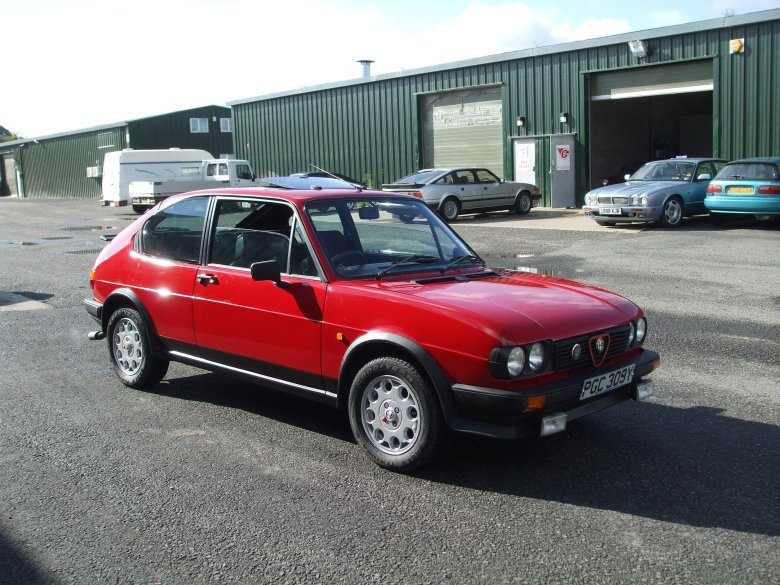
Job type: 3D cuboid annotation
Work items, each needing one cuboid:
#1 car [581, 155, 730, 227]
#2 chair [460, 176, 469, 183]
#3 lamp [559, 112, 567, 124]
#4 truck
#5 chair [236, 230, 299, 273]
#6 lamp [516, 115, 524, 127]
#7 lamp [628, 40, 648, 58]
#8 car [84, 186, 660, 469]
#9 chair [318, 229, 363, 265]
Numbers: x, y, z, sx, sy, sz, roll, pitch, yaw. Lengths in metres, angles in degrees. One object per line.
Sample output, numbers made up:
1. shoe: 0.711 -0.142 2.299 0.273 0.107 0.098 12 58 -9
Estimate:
1. car: 8.110 -3.190 17.343 4.606 1.265 2.194 -10 14 -38
2. chair: 2.857 -4.336 21.533 0.277 0.206 0.342 5 7 16
3. lamp: 7.826 -7.917 25.333 0.383 0.484 0.182 4 12 27
4. truck: -10.093 -5.656 30.766 5.993 2.155 2.669 -10 7 -32
5. chair: -1.006 -0.298 4.643 0.444 0.356 0.389 11 3 13
6. lamp: 6.183 -8.104 26.591 0.125 0.537 0.434 -12 15 -44
7. lamp: 10.225 -10.086 23.224 0.707 0.650 0.296 10 25 36
8. car: -0.601 0.029 4.980 5.142 1.891 1.775 6 13 34
9. chair: -0.362 -0.342 4.349 0.307 0.295 0.345 6 19 42
